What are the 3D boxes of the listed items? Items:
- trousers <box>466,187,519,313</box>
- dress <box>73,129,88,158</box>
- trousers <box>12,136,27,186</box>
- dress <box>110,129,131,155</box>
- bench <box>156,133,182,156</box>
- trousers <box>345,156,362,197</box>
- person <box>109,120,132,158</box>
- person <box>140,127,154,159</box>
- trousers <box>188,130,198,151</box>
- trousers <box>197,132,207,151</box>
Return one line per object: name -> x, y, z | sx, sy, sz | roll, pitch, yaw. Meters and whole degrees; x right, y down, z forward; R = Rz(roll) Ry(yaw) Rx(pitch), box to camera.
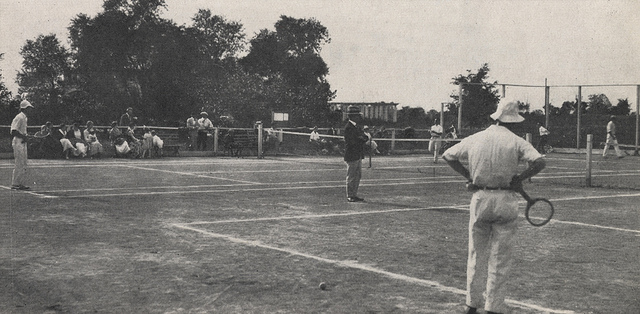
trousers -> 3.727, 1.972, 12.139 | 0.987, 2.682, 0.488 | 2, 2, 13
dress -> -13.675, -0.813, 32.046 | 0.668, 1.487, 0.732 | 2, 2, 7
trousers -> -10.838, 0.127, 20.257 | 0.403, 1.771, 0.268 | 1, 2, -14
dress -> -11.875, -0.922, 33.486 | 1.201, 1.481, 0.523 | 1, 2, -6
bench -> -9.673, -0.776, 36.027 | 1.948, 1.046, 0.697 | 0, -2, -30
trousers -> 1.215, 0.665, 19.558 | 0.476, 1.374, 0.337 | 1, 2, -6
person -> -11.891, -1.053, 33.584 | 1.095, 2.119, 1.351 | 1, 2, -26
person -> -10.578, -0.916, 34.493 | 0.794, 1.818, 1.276 | 1, 1, -16
trousers -> -8.429, -1.234, 37.510 | 0.346, 1.043, 1.305 | 4, -2, 11
trousers -> -7.774, -1.044, 37.234 | 0.607, 1.188, 0.661 | 1, 2, -15
